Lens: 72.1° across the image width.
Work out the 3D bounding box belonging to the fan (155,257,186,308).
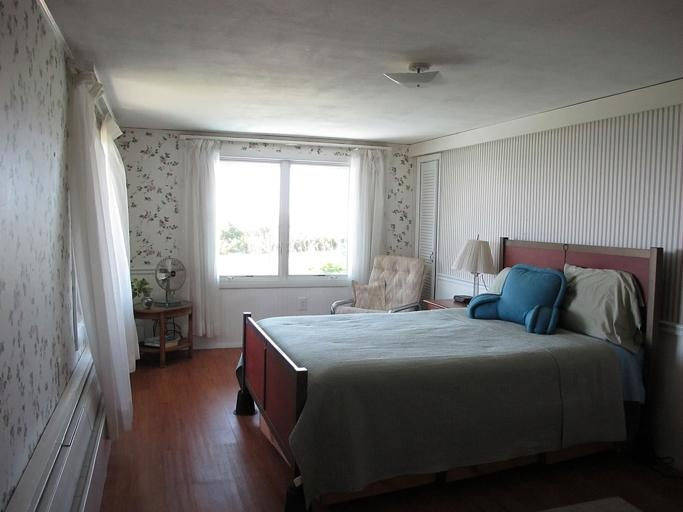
[{"bbox_3d":[-1.951,0.272,5.400,0.307,0.525,0.381,-2,8,-20],"label":"fan"}]

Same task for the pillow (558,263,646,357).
[{"bbox_3d":[2.019,0.390,3.694,0.426,0.540,0.619,-6,10,-42],"label":"pillow"}]

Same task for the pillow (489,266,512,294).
[{"bbox_3d":[1.502,0.248,4.499,0.068,0.236,0.235,12,19,9],"label":"pillow"}]

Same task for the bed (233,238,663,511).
[{"bbox_3d":[0.567,0.582,4.345,3.014,1.575,2.979,-1,8,-18],"label":"bed"}]

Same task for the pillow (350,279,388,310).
[{"bbox_3d":[0.345,0.494,5.756,0.341,0.364,0.119,-2,-15,-5],"label":"pillow"}]

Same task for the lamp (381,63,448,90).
[{"bbox_3d":[0.496,-1.261,3.293,0.352,0.131,0.342,3,8,13],"label":"lamp"}]

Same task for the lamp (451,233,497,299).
[{"bbox_3d":[1.437,0.165,4.989,0.410,0.664,0.430,-6,17,-14],"label":"lamp"}]

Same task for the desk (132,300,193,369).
[{"bbox_3d":[-1.900,0.847,5.304,0.621,0.605,0.676,6,10,39],"label":"desk"}]
